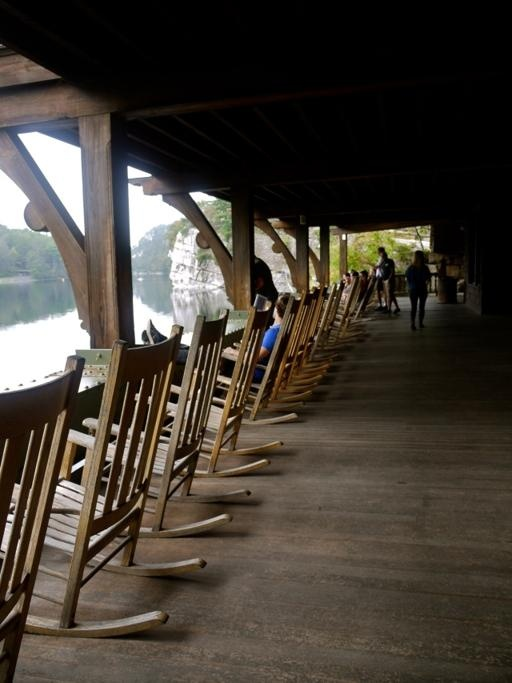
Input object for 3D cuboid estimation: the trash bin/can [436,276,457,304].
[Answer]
[{"bbox_3d":[5.426,-1.451,15.066,0.488,0.727,0.485,0,6,19],"label":"trash bin/can"}]
